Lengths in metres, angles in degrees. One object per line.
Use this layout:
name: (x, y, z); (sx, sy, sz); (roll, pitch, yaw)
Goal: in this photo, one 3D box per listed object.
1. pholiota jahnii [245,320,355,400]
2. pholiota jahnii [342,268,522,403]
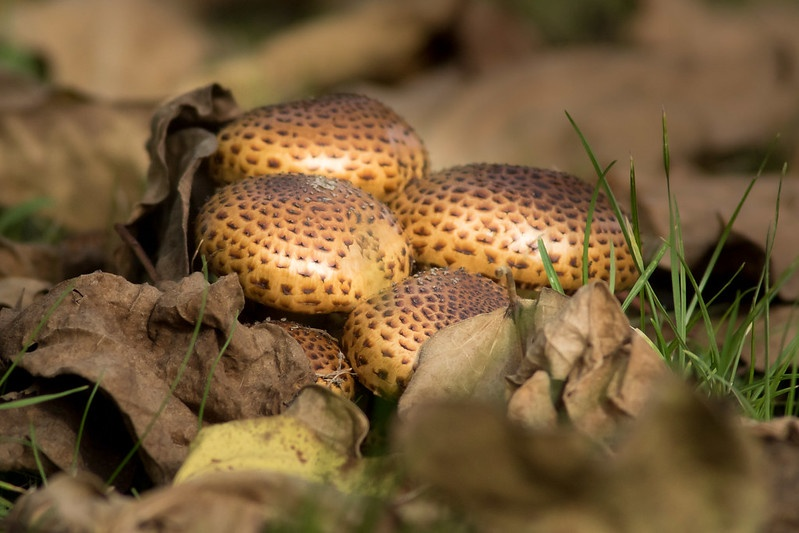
pholiota jahnii: (-0.310, 0.280, 2.797); (0.303, 0.118, 0.353); (-1, 39, -20)
pholiota jahnii: (0.163, 0.120, 2.830); (0.406, 0.179, 0.468); (12, 27, 26)
